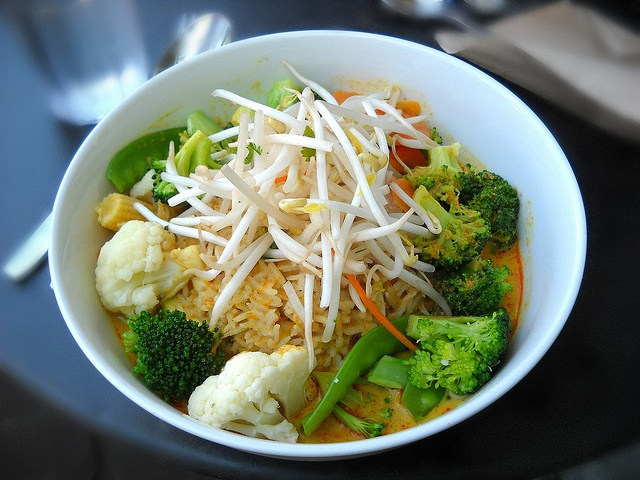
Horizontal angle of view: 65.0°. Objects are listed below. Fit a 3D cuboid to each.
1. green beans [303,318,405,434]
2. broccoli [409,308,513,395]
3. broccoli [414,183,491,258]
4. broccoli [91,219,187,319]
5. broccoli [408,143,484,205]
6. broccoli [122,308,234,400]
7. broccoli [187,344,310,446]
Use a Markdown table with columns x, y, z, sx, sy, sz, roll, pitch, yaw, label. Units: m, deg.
| x | y | z | sx | sy | sz | roll | pitch | yaw | label |
| --- | --- | --- | --- | --- | --- | --- | --- | --- | --- |
| 0.129 | 0.598 | 2.236 | 0.602 | 0.132 | 0.159 | -38 | 75 | -16 | green beans |
| 0.600 | 0.491 | 2.203 | 0.359 | 0.215 | 0.391 | -8 | 51 | -8 | broccoli |
| 0.626 | -0.031 | 2.458 | 0.304 | 0.151 | 0.375 | -39 | 72 | -4 | broccoli |
| -0.837 | 0.145 | 2.473 | 0.378 | 0.190 | 0.439 | 30 | 81 | 7 | broccoli |
| 0.619 | -0.347 | 2.585 | 0.307 | 0.090 | 0.343 | -1 | 70 | -3 | broccoli |
| -0.616 | 0.484 | 2.172 | 0.411 | 0.238 | 0.355 | 36 | 61 | 14 | broccoli |
| -0.266 | 0.637 | 2.082 | 0.394 | 0.296 | 0.406 | -11 | 30 | -30 | broccoli |
